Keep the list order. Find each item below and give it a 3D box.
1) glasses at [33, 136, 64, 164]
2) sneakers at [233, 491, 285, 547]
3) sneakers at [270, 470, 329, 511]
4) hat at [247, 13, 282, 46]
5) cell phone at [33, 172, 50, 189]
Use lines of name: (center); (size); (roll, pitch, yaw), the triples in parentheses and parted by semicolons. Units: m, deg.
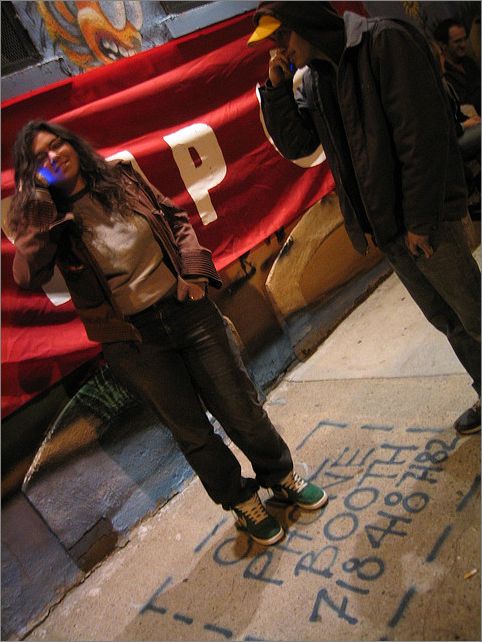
glasses: (-0.745, -0.654, 1.719); (0.069, 0.096, 0.045); (-35, -2, -16)
sneakers: (0.049, 0.850, 1.980); (0.107, 0.192, 0.283); (-24, 11, -28)
sneakers: (0.248, 0.734, 2.087); (0.321, 0.151, 0.114); (-3, 30, 47)
hat: (0.079, -0.989, 1.524); (0.104, 0.039, 0.065); (-49, 35, -3)
cell phone: (-0.759, -0.530, 1.694); (0.061, 0.031, 0.040); (-4, 62, 33)
